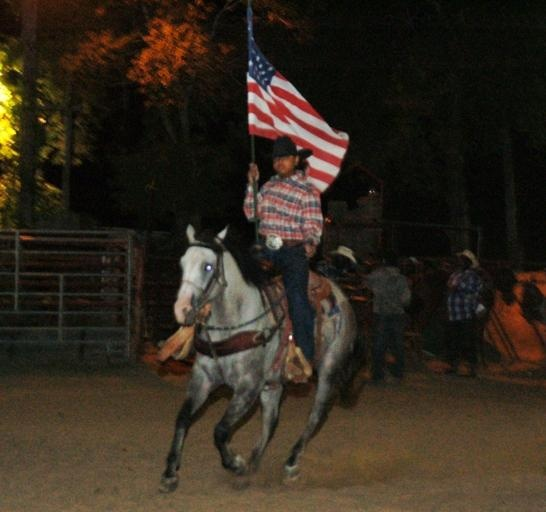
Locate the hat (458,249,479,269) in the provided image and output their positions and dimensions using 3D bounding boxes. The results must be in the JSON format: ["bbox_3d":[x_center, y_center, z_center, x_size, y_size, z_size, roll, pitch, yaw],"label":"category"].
[{"bbox_3d":[3.589,0.036,12.873,0.364,0.114,0.382,36,-8,32],"label":"hat"}]
